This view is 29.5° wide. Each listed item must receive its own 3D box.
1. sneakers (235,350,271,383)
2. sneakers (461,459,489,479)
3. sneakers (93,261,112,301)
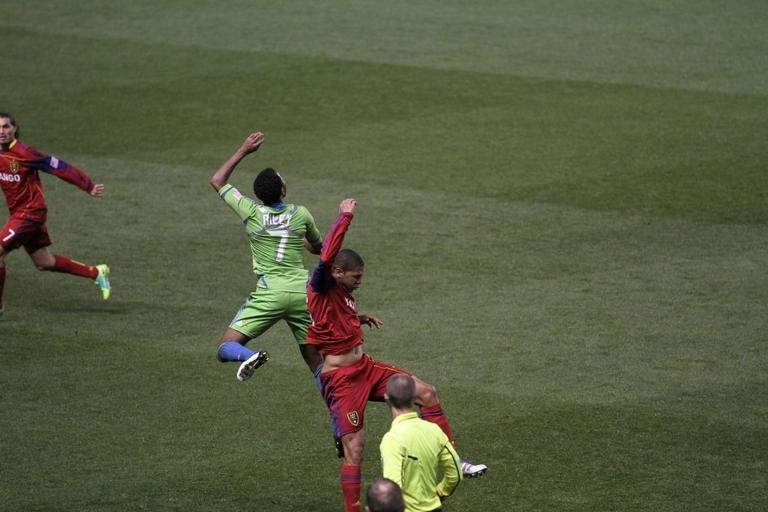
[{"bbox_3d":[-1.700,1.377,18.128,0.213,0.561,0.252,54,11,-4],"label":"sneakers"},{"bbox_3d":[1.063,2.588,17.699,0.452,0.184,0.148,-3,4,7],"label":"sneakers"},{"bbox_3d":[-3.888,0.340,20.186,0.203,0.506,0.240,3,25,45],"label":"sneakers"}]
